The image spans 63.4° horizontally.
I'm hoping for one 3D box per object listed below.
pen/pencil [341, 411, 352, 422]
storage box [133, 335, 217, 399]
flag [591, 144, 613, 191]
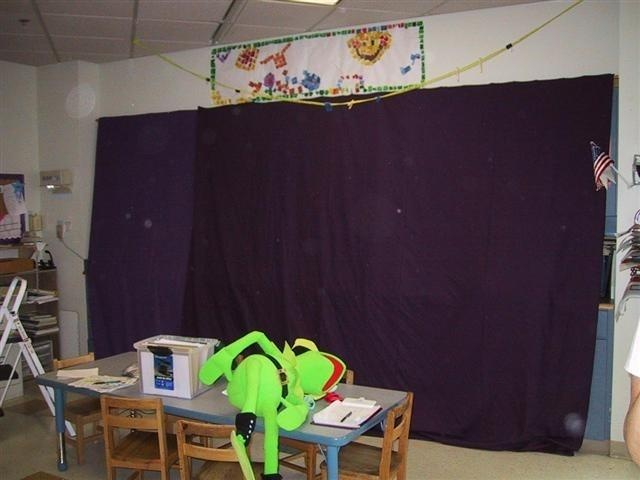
[{"bbox_3d":[0.173,1.197,3.529,0.025,0.020,0.107,3,21,30],"label":"pen/pencil"},{"bbox_3d":[-1.104,0.937,3.988,0.499,0.360,0.403,2,2,23],"label":"storage box"},{"bbox_3d":[2.389,-0.618,4.341,0.206,0.395,0.155,2,3,11],"label":"flag"}]
